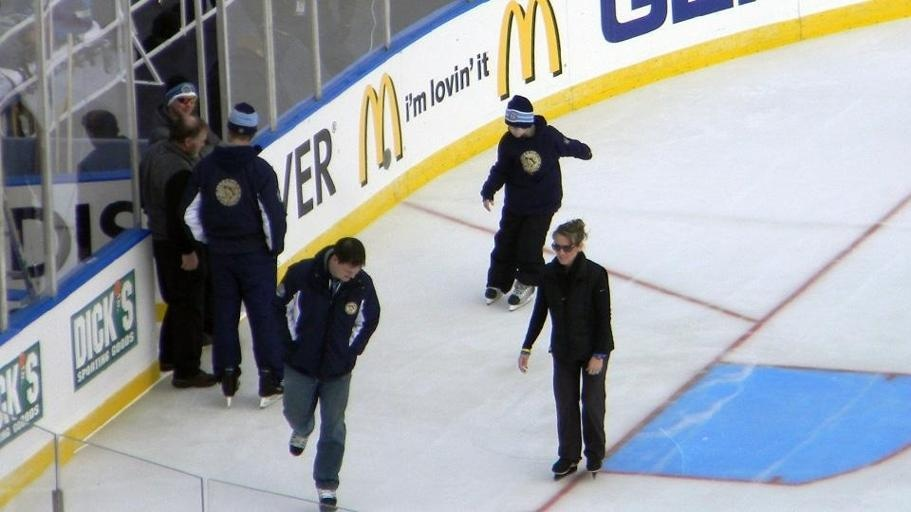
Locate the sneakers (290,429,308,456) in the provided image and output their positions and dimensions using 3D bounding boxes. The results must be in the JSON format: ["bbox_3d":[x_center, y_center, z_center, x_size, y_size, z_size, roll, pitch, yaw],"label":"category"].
[{"bbox_3d":[-1.448,1.749,14.256,0.103,0.308,0.119,11,-15,-3],"label":"sneakers"}]

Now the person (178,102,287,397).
[{"bbox_3d":[-2.063,0.025,14.829,0.895,2.858,0.666,-6,19,-10],"label":"person"}]

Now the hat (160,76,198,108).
[{"bbox_3d":[-2.747,-1.640,15.394,0.249,0.245,0.348,-1,-2,-32],"label":"hat"}]

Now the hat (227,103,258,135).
[{"bbox_3d":[-2.036,-1.314,14.801,0.227,0.201,0.323,8,15,-16],"label":"hat"}]

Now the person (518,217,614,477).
[{"bbox_3d":[1.003,0.863,14.078,0.777,2.327,0.593,-1,18,3],"label":"person"}]

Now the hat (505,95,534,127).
[{"bbox_3d":[0.617,-1.506,15.764,0.274,0.285,0.307,6,26,9],"label":"hat"}]

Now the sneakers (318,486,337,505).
[{"bbox_3d":[-1.153,2.161,13.828,0.109,0.053,0.179,-1,13,-14],"label":"sneakers"}]

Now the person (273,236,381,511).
[{"bbox_3d":[-1.138,0.911,13.913,0.734,2.228,0.637,-17,23,-37],"label":"person"}]

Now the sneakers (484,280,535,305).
[{"bbox_3d":[0.547,0.412,16.244,0.209,0.270,0.636,13,20,22],"label":"sneakers"}]
